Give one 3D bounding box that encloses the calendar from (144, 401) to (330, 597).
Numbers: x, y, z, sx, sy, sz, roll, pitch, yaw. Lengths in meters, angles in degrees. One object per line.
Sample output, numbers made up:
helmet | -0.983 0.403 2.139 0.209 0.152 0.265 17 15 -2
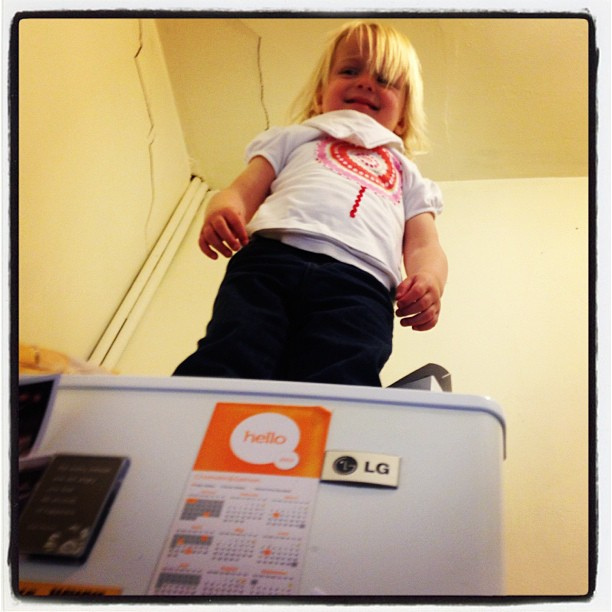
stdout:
calendar | -0.057 0.195 0.585 0.128 0.261 0.004 10 25 -9
